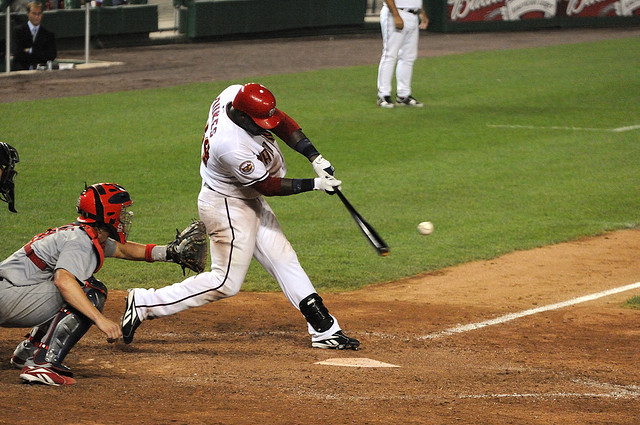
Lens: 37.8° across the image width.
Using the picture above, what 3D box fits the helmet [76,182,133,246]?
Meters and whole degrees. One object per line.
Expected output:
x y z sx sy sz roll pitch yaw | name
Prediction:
-2.260 -0.021 9.645 0.646 0.511 0.459 1 15 -33 | helmet

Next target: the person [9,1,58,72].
-5.867 -3.570 18.929 0.932 1.397 0.928 -5 17 -16 | person

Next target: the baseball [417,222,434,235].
1.247 0.190 11.038 0.149 0.150 0.242 3 15 12 | baseball

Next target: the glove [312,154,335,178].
0.020 -0.514 10.079 0.198 0.260 0.119 -44 -3 18 | glove

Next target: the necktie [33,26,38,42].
-5.718 -3.654 18.770 0.089 0.228 0.128 -9 19 -26 | necktie

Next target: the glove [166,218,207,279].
-1.425 0.353 10.141 0.477 0.540 0.225 -5 4 -16 | glove

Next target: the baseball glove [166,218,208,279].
-1.409 0.375 10.066 0.454 0.551 0.213 -2 8 -24 | baseball glove

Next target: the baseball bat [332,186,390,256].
0.541 0.136 12.464 1.339 0.151 0.196 42 53 21 | baseball bat
